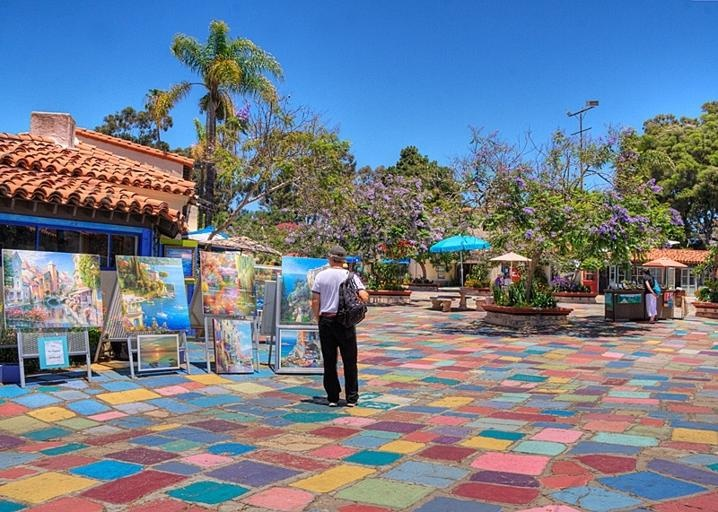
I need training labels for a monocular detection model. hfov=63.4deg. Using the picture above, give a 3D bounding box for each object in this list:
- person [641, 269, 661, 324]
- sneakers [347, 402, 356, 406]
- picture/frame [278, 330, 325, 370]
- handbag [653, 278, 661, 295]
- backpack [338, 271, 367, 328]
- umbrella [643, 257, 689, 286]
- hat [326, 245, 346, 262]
[{"bbox_3d":[9.573,1.248,19.055,0.423,1.625,1.292,1,2,27],"label":"person"},{"bbox_3d":[-0.097,2.042,8.136,0.138,0.047,0.096,0,2,0],"label":"sneakers"},{"bbox_3d":[-0.997,1.556,9.787,0.901,0.748,0.089,0,-7,-7],"label":"picture/frame"},{"bbox_3d":[11.184,1.091,21.871,0.252,0.781,0.608,-2,-2,27],"label":"handbag"},{"bbox_3d":[-0.095,0.589,8.070,0.389,0.734,0.297,1,2,15],"label":"backpack"},{"bbox_3d":[16.466,0.727,31.303,1.777,1.199,1.764,4,7,35],"label":"umbrella"},{"bbox_3d":[-0.317,-0.063,8.311,0.185,0.138,0.242,6,17,-14],"label":"hat"}]
